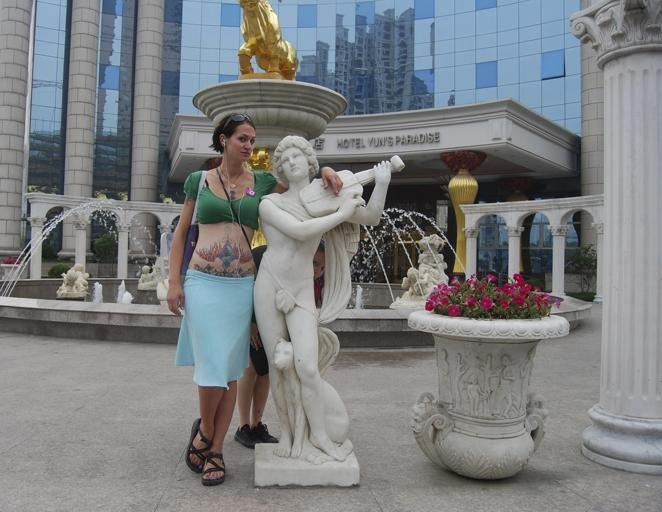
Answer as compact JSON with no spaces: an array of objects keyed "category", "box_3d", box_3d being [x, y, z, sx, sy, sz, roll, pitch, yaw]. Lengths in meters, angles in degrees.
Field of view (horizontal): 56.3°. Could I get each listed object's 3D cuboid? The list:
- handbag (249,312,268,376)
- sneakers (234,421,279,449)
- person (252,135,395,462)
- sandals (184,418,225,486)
[{"category":"handbag","box_3d":[-0.571,0.685,4.830,0.206,0.415,0.093,-9,16,-7]},{"category":"sneakers","box_3d":[-0.627,1.425,4.984,0.178,0.110,0.277,2,-7,-42]},{"category":"person","box_3d":[-0.110,0.276,4.565,0.915,2.334,0.542,0,4,-8]},{"category":"sandals","box_3d":[-0.924,1.425,4.468,0.181,0.136,0.491,16,24,-36]}]
